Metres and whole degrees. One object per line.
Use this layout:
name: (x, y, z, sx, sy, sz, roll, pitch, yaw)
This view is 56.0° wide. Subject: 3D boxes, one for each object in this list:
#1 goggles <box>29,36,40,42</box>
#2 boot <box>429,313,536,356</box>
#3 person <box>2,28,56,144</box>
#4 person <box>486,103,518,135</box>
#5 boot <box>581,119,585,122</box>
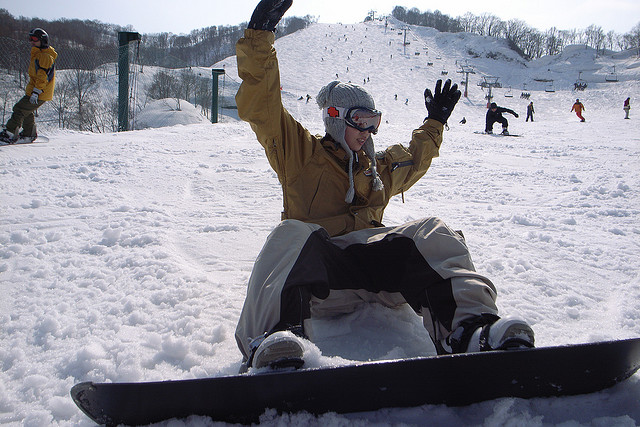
goggles: (-4.378, -2.634, 9.113, 0.247, 0.079, 0.119, 9, 9, 36)
boot: (1.298, 0.947, 4.695, 0.496, 0.209, 0.389, -11, -11, 16)
person: (-4.504, -1.948, 9.291, 0.739, 1.760, 0.491, -1, 8, -25)
person: (4.995, -2.734, 17.004, 0.701, 0.333, 1.041, 1, -20, 10)
boot: (8.736, -3.065, 19.953, 0.097, 0.089, 0.686, 6, 8, 22)
